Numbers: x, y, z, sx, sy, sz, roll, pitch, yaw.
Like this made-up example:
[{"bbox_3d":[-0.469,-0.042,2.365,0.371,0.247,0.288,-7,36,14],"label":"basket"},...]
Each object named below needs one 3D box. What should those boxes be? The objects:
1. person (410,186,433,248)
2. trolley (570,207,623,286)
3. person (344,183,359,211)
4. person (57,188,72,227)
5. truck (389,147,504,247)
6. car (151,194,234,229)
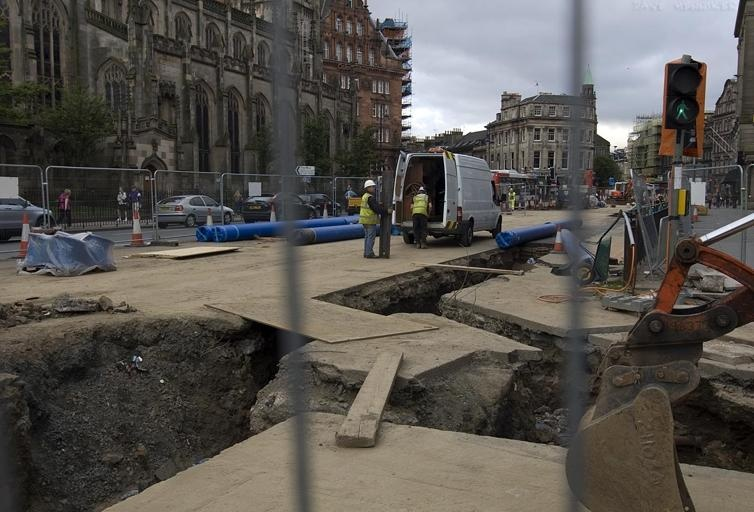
[{"bbox_3d":[1.212,-1.077,17.913,0.478,1.674,0.990,-1,6,4],"label":"person"},{"bbox_3d":[3.204,-0.173,9.689,1.062,1.130,0.965,4,5,19],"label":"trolley"},{"bbox_3d":[-1.183,-2.718,30.755,0.606,0.753,1.143,1,19,3],"label":"person"},{"bbox_3d":[-9.684,-1.514,20.286,0.401,1.209,1.017,-5,7,-25],"label":"person"},{"bbox_3d":[2.128,-2.002,19.698,1.823,2.318,4.118,3,11,27],"label":"truck"},{"bbox_3d":[-7.107,-1.716,24.584,0.872,1.249,3.448,1,7,22],"label":"car"}]
